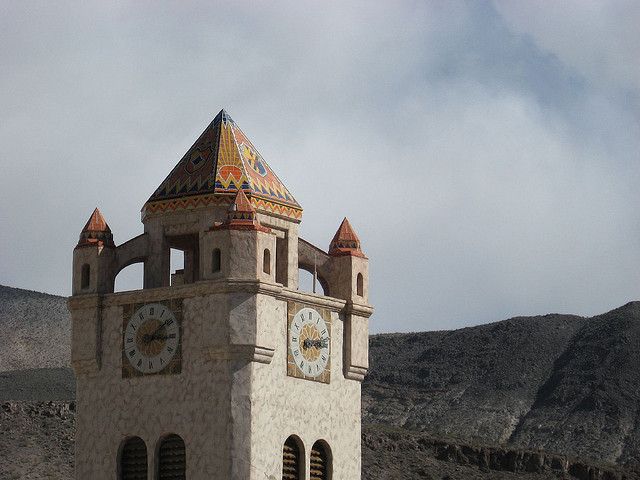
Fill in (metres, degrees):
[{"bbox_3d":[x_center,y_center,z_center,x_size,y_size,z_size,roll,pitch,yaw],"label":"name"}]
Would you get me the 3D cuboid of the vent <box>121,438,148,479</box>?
[{"bbox_3d":[-7.780,9.248,59.680,1.334,2.427,0.277,-3,-7,36],"label":"vent"}]
